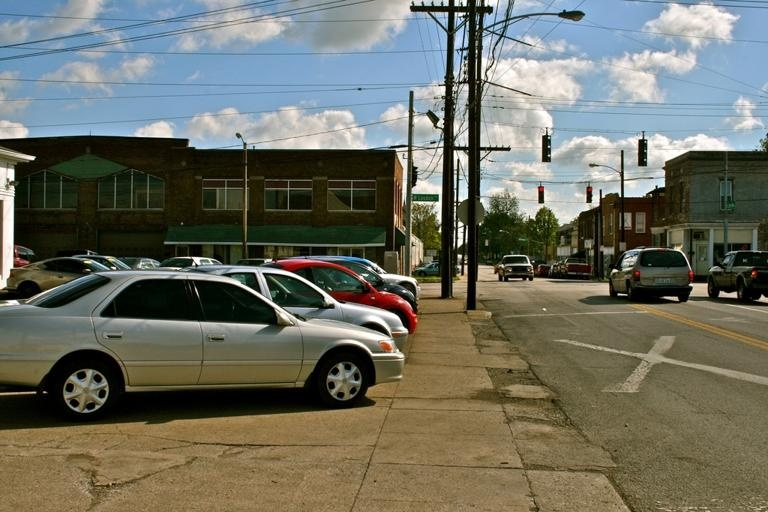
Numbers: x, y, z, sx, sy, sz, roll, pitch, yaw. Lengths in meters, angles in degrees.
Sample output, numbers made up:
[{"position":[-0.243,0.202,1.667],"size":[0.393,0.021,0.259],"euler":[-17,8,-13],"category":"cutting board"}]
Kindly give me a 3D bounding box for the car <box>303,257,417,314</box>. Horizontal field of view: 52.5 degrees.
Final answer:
[{"position":[-0.583,0.734,20.641],"size":[2.873,1.206,1.535],"euler":[-1,3,-2],"category":"car"}]

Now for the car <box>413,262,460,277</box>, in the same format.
[{"position":[4.399,1.168,62.869],"size":[3.481,0.973,1.463],"euler":[1,-1,1],"category":"car"}]

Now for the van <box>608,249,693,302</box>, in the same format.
[{"position":[9.464,0.537,28.051],"size":[1.766,1.092,2.766],"euler":[0,3,-1],"category":"van"}]

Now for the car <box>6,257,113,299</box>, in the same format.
[{"position":[-8.744,0.568,20.783],"size":[3.517,0.960,1.354],"euler":[-3,0,-6],"category":"car"}]

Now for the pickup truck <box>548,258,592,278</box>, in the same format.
[{"position":[14.857,1.068,61.294],"size":[1.607,1.017,3.448],"euler":[0,3,0],"category":"pickup truck"}]

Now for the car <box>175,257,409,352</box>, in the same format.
[{"position":[-1.341,0.825,13.642],"size":[3.660,1.032,1.655],"euler":[1,0,-7],"category":"car"}]

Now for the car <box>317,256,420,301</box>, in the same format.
[{"position":[-0.358,0.639,23.455],"size":[2.935,0.819,1.279],"euler":[0,3,-4],"category":"car"}]

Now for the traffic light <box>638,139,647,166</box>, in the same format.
[{"position":[11.723,-4.608,35.095],"size":[0.261,1.162,0.494],"euler":[4,8,26],"category":"traffic light"}]

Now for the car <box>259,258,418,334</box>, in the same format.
[{"position":[-1.118,0.776,16.916],"size":[3.119,1.239,1.530],"euler":[-1,2,-8],"category":"car"}]

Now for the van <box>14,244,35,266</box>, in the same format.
[{"position":[-17.818,-0.020,38.324],"size":[1.268,0.835,2.731],"euler":[1,5,-15],"category":"van"}]

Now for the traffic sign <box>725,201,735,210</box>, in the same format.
[{"position":[23.239,-3.365,51.985],"size":[0.536,0.568,0.960],"euler":[-1,0,29],"category":"traffic sign"}]
